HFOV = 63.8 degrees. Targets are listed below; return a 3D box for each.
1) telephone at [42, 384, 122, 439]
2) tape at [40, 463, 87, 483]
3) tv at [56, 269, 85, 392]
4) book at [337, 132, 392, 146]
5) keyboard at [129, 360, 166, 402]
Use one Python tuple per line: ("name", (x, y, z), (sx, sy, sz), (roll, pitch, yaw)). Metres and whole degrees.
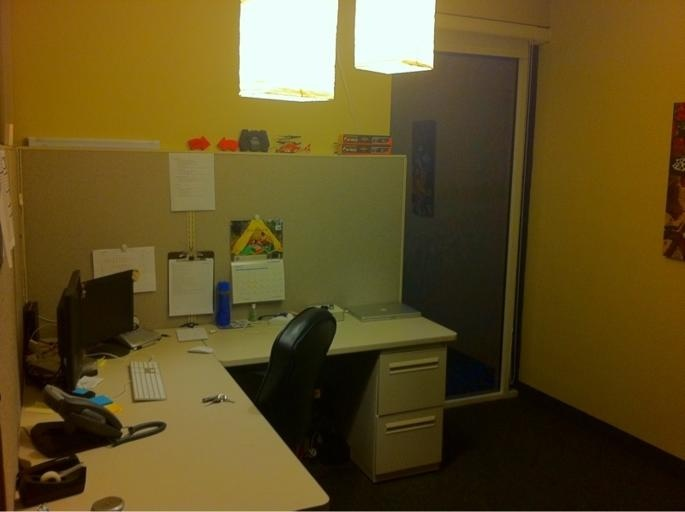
("telephone", (-1.007, 0.597, 2.160), (0.255, 0.110, 0.189), (31, 2, -20))
("tape", (-0.991, 0.737, 1.918), (0.052, 0.039, 0.102), (4, 7, 31))
("tv", (-1.236, 0.356, 2.486), (0.075, 0.639, 0.455), (0, -4, -14))
("book", (0.146, -0.766, 3.601), (0.344, 0.062, 0.035), (-2, 15, -15))
("keyboard", (-0.961, 0.561, 2.629), (0.157, 0.029, 0.397), (5, 22, -28))
